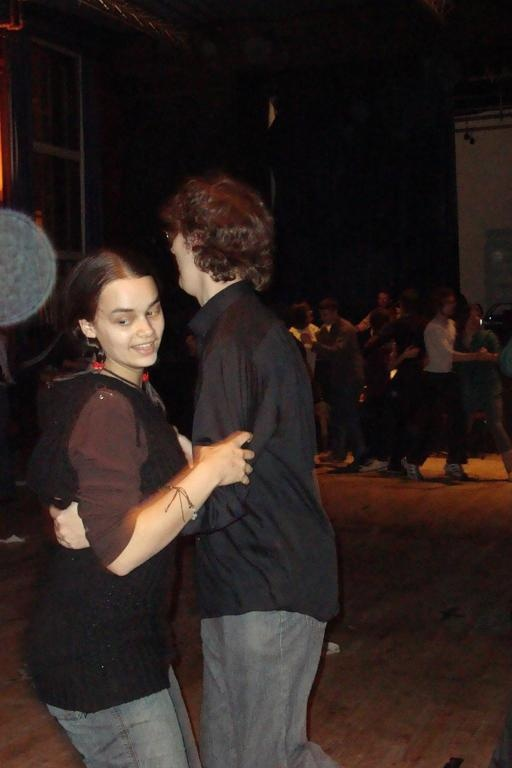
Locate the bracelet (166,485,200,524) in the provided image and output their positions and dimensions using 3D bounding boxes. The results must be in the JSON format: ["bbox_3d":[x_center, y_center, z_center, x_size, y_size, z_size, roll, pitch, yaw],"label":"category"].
[{"bbox_3d":[-0.142,0.222,1.227,0.026,0.071,0.047,-30,-10,30],"label":"bracelet"}]

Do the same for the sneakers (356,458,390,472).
[{"bbox_3d":[1.508,1.045,8.471,0.424,0.172,0.139,-8,-25,-33],"label":"sneakers"}]
